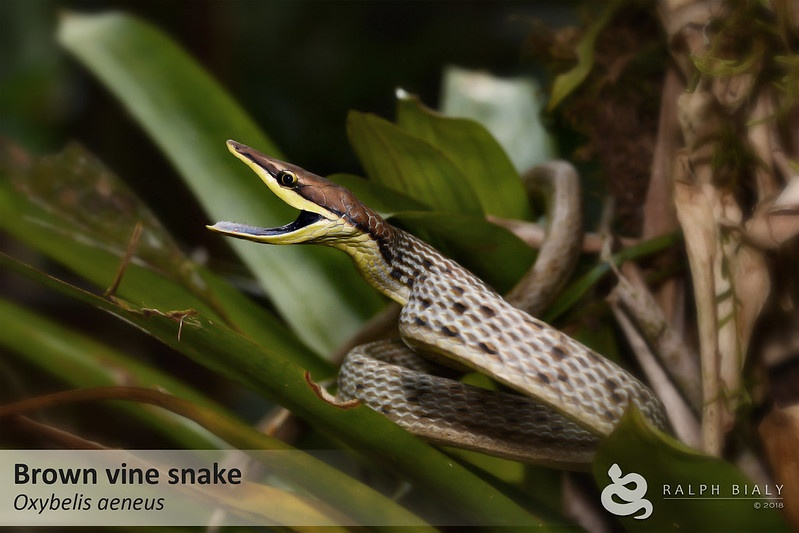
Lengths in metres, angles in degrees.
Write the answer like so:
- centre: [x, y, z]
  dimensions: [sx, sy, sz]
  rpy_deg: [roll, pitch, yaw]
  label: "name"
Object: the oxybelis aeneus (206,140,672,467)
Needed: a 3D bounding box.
- centre: [0.061, 0.120, 2.115]
  dimensions: [1.111, 0.726, 0.539]
  rpy_deg: [14, 86, -2]
  label: "oxybelis aeneus"
